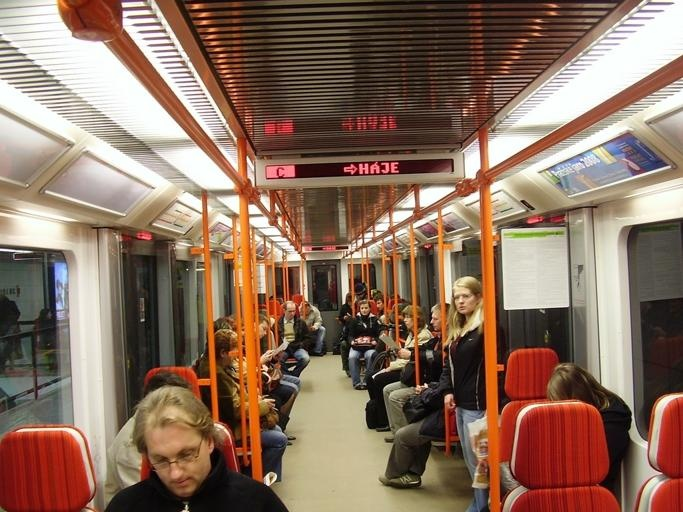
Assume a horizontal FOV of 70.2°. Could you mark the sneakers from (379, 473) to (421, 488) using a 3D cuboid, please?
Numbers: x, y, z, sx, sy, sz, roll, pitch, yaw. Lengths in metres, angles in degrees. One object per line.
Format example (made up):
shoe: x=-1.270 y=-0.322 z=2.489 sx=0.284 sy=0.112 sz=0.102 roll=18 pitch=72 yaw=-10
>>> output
sneakers: x=0.693 y=2.604 z=5.608 sx=0.363 sy=0.127 sz=0.185 roll=6 pitch=-12 yaw=-5

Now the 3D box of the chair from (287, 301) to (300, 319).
chair: x=-1.147 y=1.280 z=11.594 sx=0.337 sy=0.356 sz=0.388 roll=0 pitch=-6 yaw=-10

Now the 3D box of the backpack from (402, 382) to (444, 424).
backpack: x=0.928 y=1.656 z=5.484 sx=0.459 sy=0.214 sz=0.575 roll=-25 pitch=-6 yaw=-34
